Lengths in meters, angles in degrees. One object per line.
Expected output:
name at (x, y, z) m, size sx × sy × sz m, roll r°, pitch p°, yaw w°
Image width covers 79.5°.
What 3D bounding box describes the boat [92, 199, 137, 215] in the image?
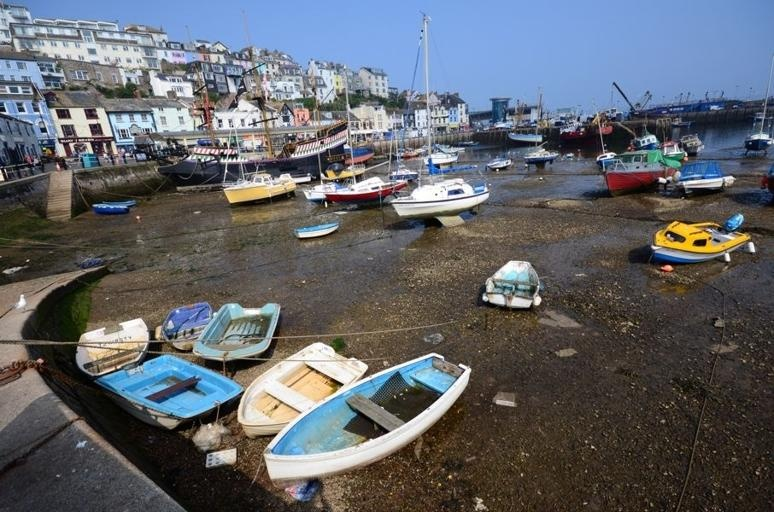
boat at (-24.720, -4.379, 43.225) m, size 1.794 × 0.690 × 2.969 m, roll 14°, pitch 17°, yaw 19°
